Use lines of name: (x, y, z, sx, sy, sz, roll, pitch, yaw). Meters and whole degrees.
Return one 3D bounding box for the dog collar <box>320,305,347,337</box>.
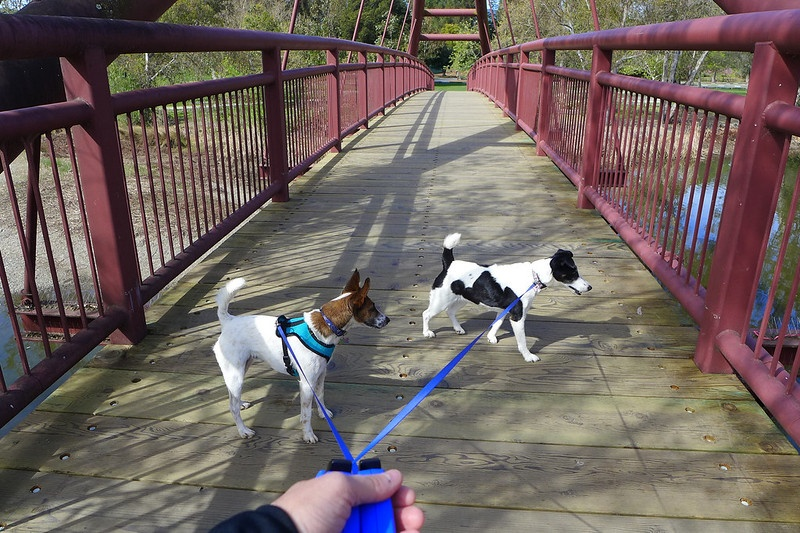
dog collar: (-0.303, 0.266, 2.679, 0.115, 0.130, 0.041, 31, 65, 33)
